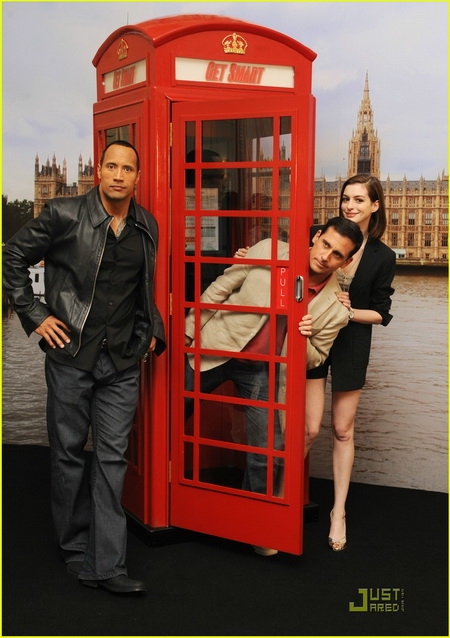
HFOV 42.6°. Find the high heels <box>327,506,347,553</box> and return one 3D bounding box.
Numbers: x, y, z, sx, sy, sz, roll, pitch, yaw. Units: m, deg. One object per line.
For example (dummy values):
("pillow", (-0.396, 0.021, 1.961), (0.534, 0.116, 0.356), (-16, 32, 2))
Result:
("high heels", (0.518, 0.950, 2.639), (0.073, 0.225, 0.089), (1, 1, 23))

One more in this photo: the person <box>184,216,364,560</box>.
("person", (0.131, 0.238, 2.422), (0.556, 1.378, 0.437), (23, -1, 11))
